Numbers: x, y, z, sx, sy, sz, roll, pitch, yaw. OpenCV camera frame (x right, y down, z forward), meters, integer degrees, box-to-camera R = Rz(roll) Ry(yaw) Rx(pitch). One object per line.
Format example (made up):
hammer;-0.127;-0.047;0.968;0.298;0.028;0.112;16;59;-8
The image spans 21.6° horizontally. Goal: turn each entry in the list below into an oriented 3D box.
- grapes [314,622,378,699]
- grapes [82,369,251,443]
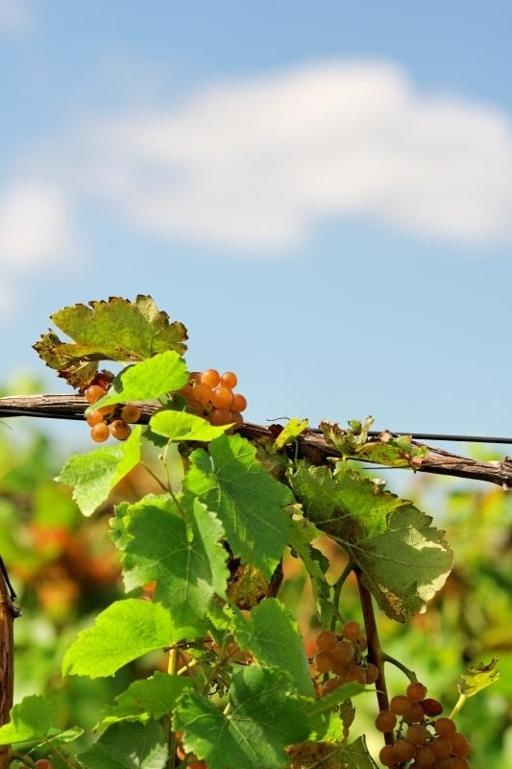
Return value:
grapes;0.114;0.338;1.669;0.078;0.089;0.068;-3;-12;21
grapes;-0.118;0.015;1.613;0.213;0.098;0.200;1;-11;1
